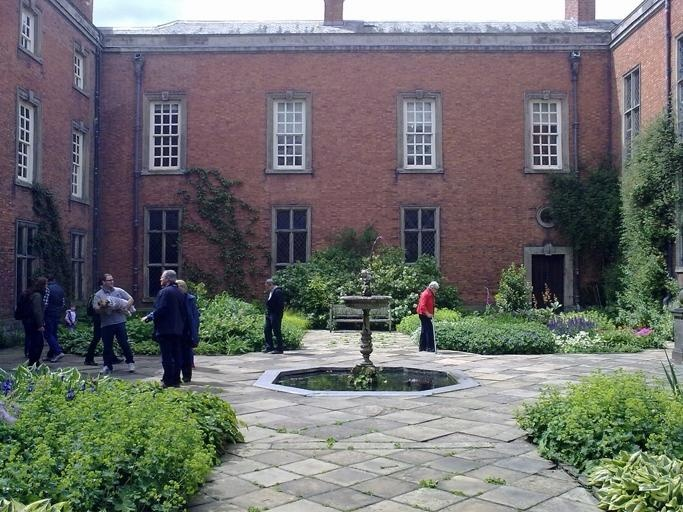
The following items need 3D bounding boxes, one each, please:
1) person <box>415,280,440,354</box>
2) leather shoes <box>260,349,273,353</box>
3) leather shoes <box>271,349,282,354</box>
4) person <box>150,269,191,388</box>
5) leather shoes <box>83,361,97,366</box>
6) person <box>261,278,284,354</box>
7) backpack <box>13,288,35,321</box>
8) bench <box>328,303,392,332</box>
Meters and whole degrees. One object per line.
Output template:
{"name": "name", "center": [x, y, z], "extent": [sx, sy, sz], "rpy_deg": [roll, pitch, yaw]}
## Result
{"name": "person", "center": [1.831, 1.263, 16.870], "extent": [0.428, 1.436, 0.670], "rpy_deg": [-2, -2, 5]}
{"name": "leather shoes", "center": [-1.552, 1.988, 16.854], "extent": [0.258, 0.095, 0.087], "rpy_deg": [4, -5, 20]}
{"name": "leather shoes", "center": [-1.334, 1.972, 16.593], "extent": [0.184, 0.066, 0.092], "rpy_deg": [6, -6, -7]}
{"name": "person", "center": [-2.772, 1.138, 12.841], "extent": [0.460, 1.829, 0.763], "rpy_deg": [-2, -2, 9]}
{"name": "leather shoes", "center": [-4.675, 1.996, 14.999], "extent": [0.283, 0.112, 0.093], "rpy_deg": [-1, -3, 6]}
{"name": "person", "center": [-1.433, 1.242, 16.962], "extent": [0.413, 1.517, 0.903], "rpy_deg": [-2, -2, -6]}
{"name": "backpack", "center": [-6.169, 0.966, 15.623], "extent": [0.491, 0.607, 0.662], "rpy_deg": [1, -6, -1]}
{"name": "bench", "center": [0.510, 1.628, 21.556], "extent": [1.760, 0.737, 1.136], "rpy_deg": [-2, -2, 3]}
